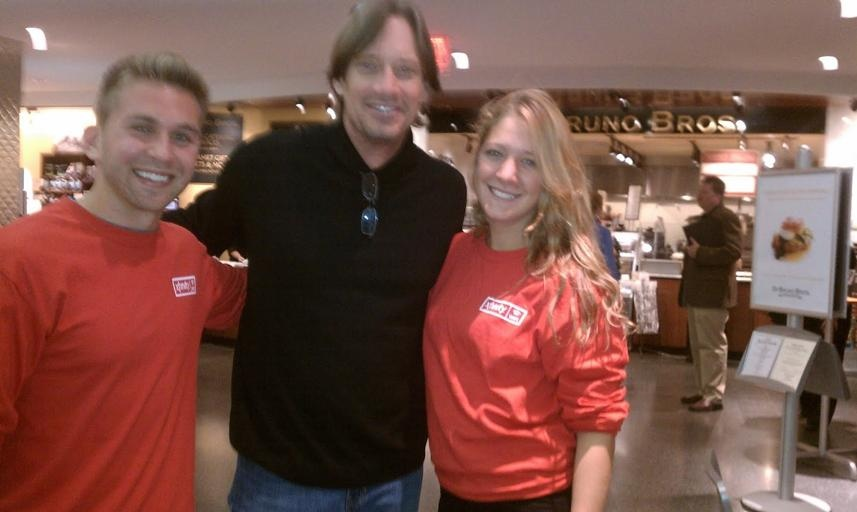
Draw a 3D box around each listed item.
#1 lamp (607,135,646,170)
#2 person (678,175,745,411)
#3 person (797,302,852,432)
[{"bbox_3d":[3.786,-2.020,11.717,0.153,0.323,1.500,-17,-14,39],"label":"lamp"},{"bbox_3d":[2.903,0.370,6.207,0.523,2.368,0.672,3,8,9],"label":"person"},{"bbox_3d":[3.946,1.061,5.931,1.128,1.091,0.306,-6,11,-44],"label":"person"}]
